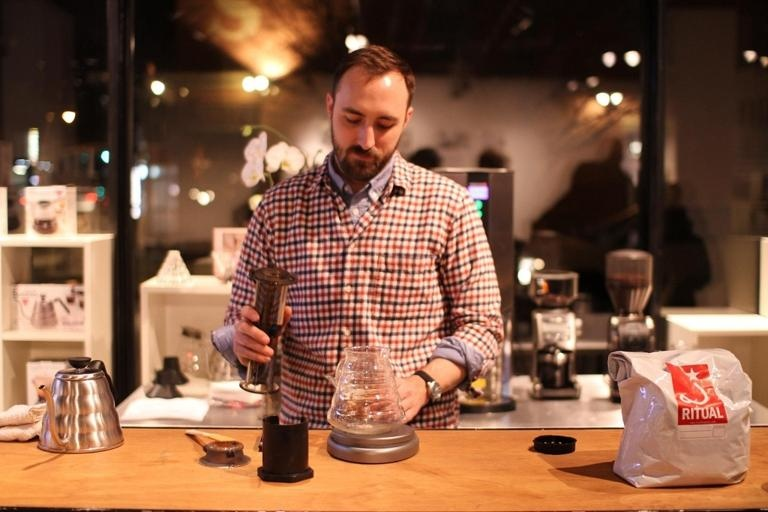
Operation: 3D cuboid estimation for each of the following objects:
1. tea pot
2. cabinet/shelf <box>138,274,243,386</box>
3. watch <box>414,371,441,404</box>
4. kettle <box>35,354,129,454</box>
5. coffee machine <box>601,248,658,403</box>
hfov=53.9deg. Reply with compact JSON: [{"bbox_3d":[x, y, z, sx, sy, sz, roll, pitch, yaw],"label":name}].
[{"bbox_3d":[-0.053,0.439,2.440,0.257,0.253,0.280,-4,-5,0],"label":"tea pot"},{"bbox_3d":[-0.930,0.430,3.957,0.617,0.494,0.448,1,-4,2],"label":"cabinet/shelf"},{"bbox_3d":[0.142,0.444,2.542,0.051,0.074,0.079,-32,-40,-12],"label":"watch"},{"bbox_3d":[-0.999,0.483,2.508,0.293,0.271,0.374,0,4,9],"label":"kettle"},{"bbox_3d":[1.195,0.218,3.679,0.216,0.494,0.189,-1,-4,16],"label":"coffee machine"}]
